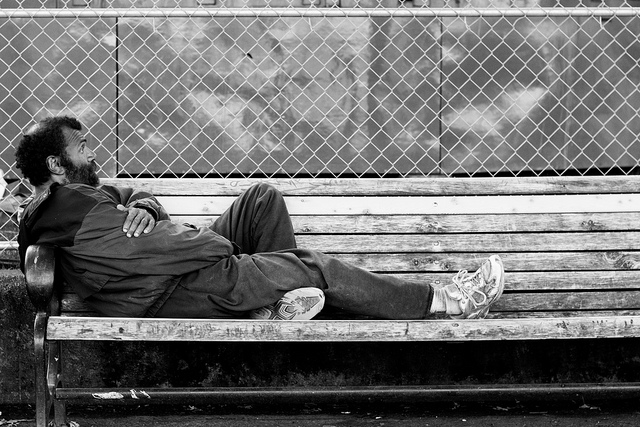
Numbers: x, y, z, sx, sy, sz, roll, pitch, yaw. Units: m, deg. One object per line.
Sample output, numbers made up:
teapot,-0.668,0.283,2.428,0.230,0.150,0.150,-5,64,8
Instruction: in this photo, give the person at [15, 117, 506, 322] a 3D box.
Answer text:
person,-0.469,0.025,6.991,3.254,1.444,1.058,-1,3,3
